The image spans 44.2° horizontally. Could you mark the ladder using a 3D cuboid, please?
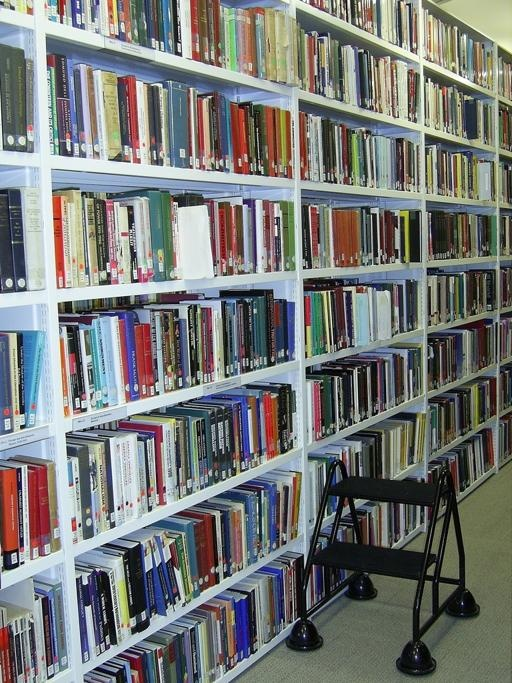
[{"bbox_3d":[0.468,0.783,2.596,0.668,0.712,0.754,1,2,35],"label":"ladder"}]
